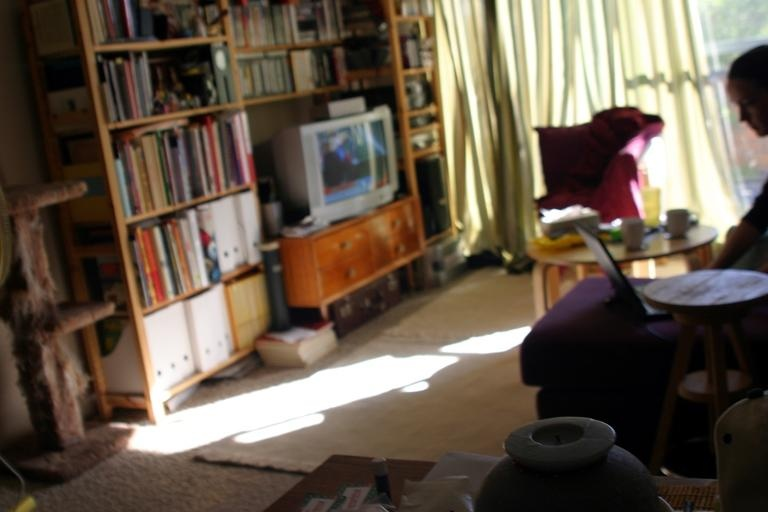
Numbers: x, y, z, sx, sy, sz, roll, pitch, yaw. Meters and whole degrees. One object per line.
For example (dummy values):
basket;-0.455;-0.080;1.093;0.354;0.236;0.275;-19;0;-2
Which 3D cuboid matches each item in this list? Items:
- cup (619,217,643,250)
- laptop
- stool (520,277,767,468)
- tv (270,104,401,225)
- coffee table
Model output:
cup;1.208;-0.112;3.022;0.137;0.154;0.137;0;2;0
laptop;0.903;0.076;2.414;0.342;0.273;0.395;-10;14;-8
stool;1.050;0.348;2.770;0.804;0.602;0.774;3;12;22
tv;-0.362;-0.667;4.398;0.454;0.705;0.889;8;21;44
coffee table;1.211;-0.007;3.146;0.798;0.475;0.796;-1;15;14
